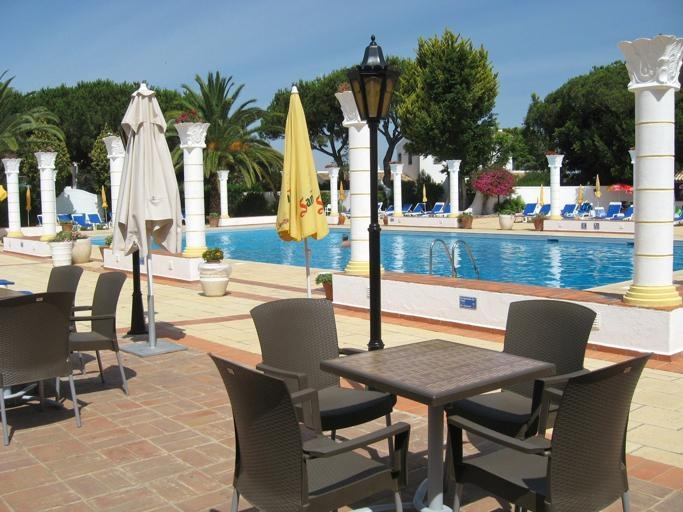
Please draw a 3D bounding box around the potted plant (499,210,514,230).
[{"bbox_3d":[8.319,-1.844,27.627,0.849,0.917,0.956,0,0,-15],"label":"potted plant"}]

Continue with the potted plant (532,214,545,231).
[{"bbox_3d":[9.655,-1.665,26.768,0.672,0.741,0.667,-1,6,-11],"label":"potted plant"}]

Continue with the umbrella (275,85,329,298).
[{"bbox_3d":[-0.544,-1.242,7.528,0.685,2.004,0.358,-1,6,-5],"label":"umbrella"}]

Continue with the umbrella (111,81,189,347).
[{"bbox_3d":[-2.580,-0.552,7.305,0.863,3.657,1.111,-3,6,-20],"label":"umbrella"}]

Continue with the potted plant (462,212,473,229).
[{"bbox_3d":[6.555,-1.857,28.342,0.716,0.738,0.707,1,-2,-43],"label":"potted plant"}]

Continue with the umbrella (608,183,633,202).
[{"bbox_3d":[19.055,-4.427,37.341,1.559,0.950,1.521,-1,2,-24],"label":"umbrella"}]

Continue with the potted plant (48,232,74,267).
[{"bbox_3d":[-8.289,-0.241,16.256,0.652,0.971,0.802,-3,7,-27],"label":"potted plant"}]
